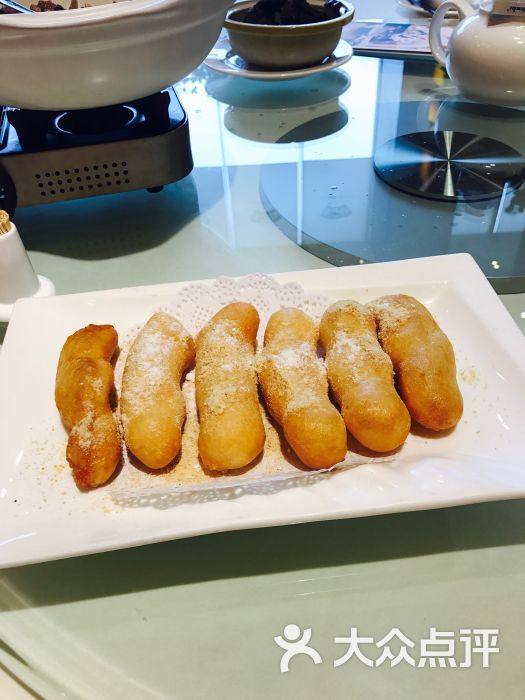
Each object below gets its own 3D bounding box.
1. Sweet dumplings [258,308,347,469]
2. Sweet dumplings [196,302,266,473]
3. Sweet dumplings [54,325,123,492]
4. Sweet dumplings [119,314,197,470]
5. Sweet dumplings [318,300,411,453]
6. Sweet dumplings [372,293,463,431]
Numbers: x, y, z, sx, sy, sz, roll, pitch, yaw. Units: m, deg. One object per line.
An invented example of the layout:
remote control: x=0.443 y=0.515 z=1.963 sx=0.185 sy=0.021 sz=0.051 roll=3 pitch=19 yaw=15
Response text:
Sweet dumplings: x=0.025 y=0.024 z=0.429 sx=0.052 sy=0.042 sz=0.154 roll=-7 pitch=41 yaw=-3
Sweet dumplings: x=-0.026 y=0.021 z=0.429 sx=0.050 sy=0.031 sz=0.143 roll=1 pitch=52 yaw=-3
Sweet dumplings: x=-0.122 y=0.034 z=0.409 sx=0.044 sy=0.026 sz=0.127 roll=-3 pitch=56 yaw=-13
Sweet dumplings: x=-0.075 y=0.027 z=0.424 sx=0.049 sy=0.030 sz=0.132 roll=0 pitch=50 yaw=-3
Sweet dumplings: x=0.063 y=0.014 z=0.419 sx=0.042 sy=0.039 sz=0.120 roll=-1 pitch=43 yaw=-10
Sweet dumplings: x=0.106 y=0.009 z=0.450 sx=0.054 sy=0.032 sz=0.097 roll=12 pitch=44 yaw=-28
